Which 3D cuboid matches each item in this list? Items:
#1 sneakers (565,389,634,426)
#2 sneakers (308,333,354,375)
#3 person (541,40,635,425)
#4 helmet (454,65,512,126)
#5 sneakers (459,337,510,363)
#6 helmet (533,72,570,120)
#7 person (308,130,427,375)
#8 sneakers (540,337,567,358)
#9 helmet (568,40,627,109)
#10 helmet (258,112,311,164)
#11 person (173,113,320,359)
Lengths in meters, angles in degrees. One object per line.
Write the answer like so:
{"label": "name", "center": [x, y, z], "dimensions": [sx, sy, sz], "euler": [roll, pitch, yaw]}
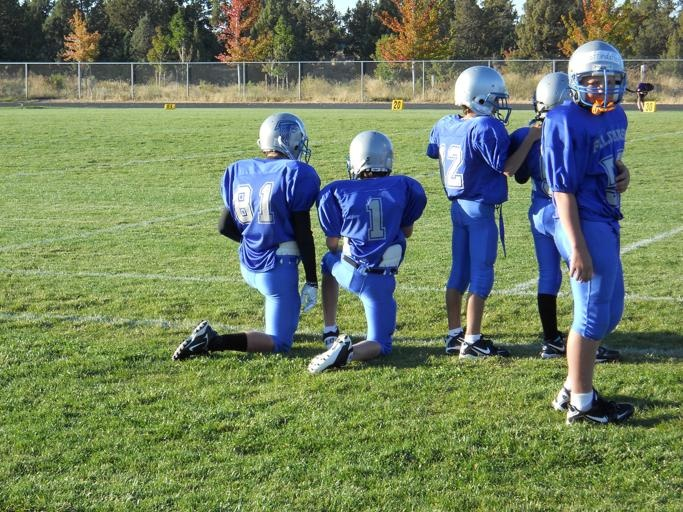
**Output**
{"label": "sneakers", "center": [1.562, 0.921, 5.507], "dimensions": [0.436, 0.224, 0.173], "euler": [-3, 10, -8]}
{"label": "sneakers", "center": [-0.079, 0.642, 6.114], "dimensions": [0.309, 0.234, 0.168], "euler": [0, 15, -3]}
{"label": "person", "center": [1.472, -0.143, 5.404], "dimensions": [0.599, 2.172, 0.607], "euler": [4, 15, 15]}
{"label": "helmet", "center": [0.998, -1.155, 6.541], "dimensions": [0.443, 0.392, 0.372], "euler": [-2, 11, -19]}
{"label": "sneakers", "center": [0.996, 0.633, 6.291], "dimensions": [0.366, 0.165, 0.145], "euler": [-1, 2, -15]}
{"label": "helmet", "center": [1.506, -1.138, 6.421], "dimensions": [0.301, 0.321, 0.249], "euler": [2, 7, 37]}
{"label": "person", "center": [0.192, -0.064, 6.327], "dimensions": [0.774, 1.526, 0.937], "euler": [1, 15, 1]}
{"label": "sneakers", "center": [1.474, 0.621, 6.312], "dimensions": [0.234, 0.110, 0.086], "euler": [-22, 7, -24]}
{"label": "helmet", "center": [1.537, -1.100, 5.439], "dimensions": [0.315, 0.376, 0.446], "euler": [-2, 12, -7]}
{"label": "helmet", "center": [-0.439, -0.880, 6.750], "dimensions": [0.349, 0.397, 0.476], "euler": [8, 7, 43]}
{"label": "person", "center": [-0.612, -0.173, 6.537], "dimensions": [0.894, 1.622, 0.872], "euler": [-3, 15, -11]}
